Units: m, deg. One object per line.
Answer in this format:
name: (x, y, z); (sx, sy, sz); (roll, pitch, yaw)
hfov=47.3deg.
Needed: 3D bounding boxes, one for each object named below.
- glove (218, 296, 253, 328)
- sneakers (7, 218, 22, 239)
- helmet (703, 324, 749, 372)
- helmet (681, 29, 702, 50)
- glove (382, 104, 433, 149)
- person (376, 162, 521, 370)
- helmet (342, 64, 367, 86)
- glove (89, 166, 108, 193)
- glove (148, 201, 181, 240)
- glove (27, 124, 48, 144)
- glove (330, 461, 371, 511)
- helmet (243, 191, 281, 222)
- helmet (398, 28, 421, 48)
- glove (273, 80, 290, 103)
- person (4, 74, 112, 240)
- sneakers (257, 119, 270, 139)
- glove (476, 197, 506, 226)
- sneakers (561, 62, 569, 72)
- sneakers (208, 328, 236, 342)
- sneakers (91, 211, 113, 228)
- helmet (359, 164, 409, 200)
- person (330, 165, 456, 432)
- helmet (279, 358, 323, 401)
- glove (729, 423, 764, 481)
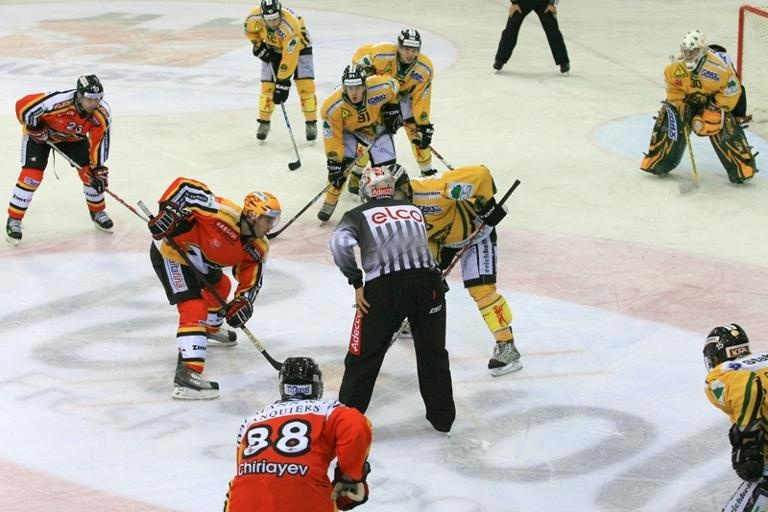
glove: (-1.123, 0.428, 6.548); (0.205, 0.240, 0.104); (1, 45, -41)
sneakers: (-3.576, -0.271, 8.489); (0.140, 0.195, 0.146); (-9, 27, -19)
helmet: (2.087, 0.569, 5.349); (0.281, 0.271, 0.298); (-3, -7, -11)
helmet: (3.159, -2.240, 9.109); (0.198, 0.197, 0.257); (8, 18, 37)
glove: (0.224, -1.341, 8.985); (0.528, 0.422, 0.166); (4, -2, -33)
person: (0.479, 0.070, 6.769); (1.276, 0.711, 1.745); (-12, 57, 13)
helmet: (-0.291, -1.783, 8.611); (0.208, 0.182, 0.242); (0, 31, 8)
glove: (-2.778, -0.751, 8.676); (0.217, 0.229, 0.239); (-1, -18, -12)
glove: (-1.595, -0.264, 6.392); (0.233, 0.264, 0.115); (22, 1, -12)
glove: (-3.306, -1.174, 8.408); (0.207, 0.164, 0.140); (-2, 50, 9)
glove: (-0.183, 1.323, 4.985); (0.244, 0.255, 0.114); (9, 8, 17)
helmet: (-0.894, -0.374, 6.481); (0.286, 0.208, 0.192); (4, 32, 2)
helmet: (0.254, -2.256, 9.189); (0.222, 0.211, 0.442); (1, 23, 0)
glove: (-1.235, -1.963, 10.502); (0.215, 0.242, 0.091); (5, 15, -25)
person: (-3.159, -0.967, 8.528); (1.051, 1.548, 0.631); (-7, 28, -14)
sneakers: (-1.510, -1.557, 10.920); (0.124, 0.269, 0.136); (5, -6, -12)
glove: (0.787, -0.327, 6.618); (0.218, 0.091, 0.218); (43, 77, 11)
sneakers: (2.662, -2.798, 13.012); (0.109, 0.120, 0.131); (-3, 4, 7)
sneakers: (-1.310, 0.645, 7.159); (0.288, 0.098, 0.087); (1, 27, -6)
sneakers: (-2.823, -0.359, 8.834); (0.117, 0.104, 0.278); (-38, 58, -25)
helmet: (0.018, -0.500, 6.203); (0.279, 0.265, 0.317); (-1, -17, -14)
person: (0.057, 0.419, 6.071); (0.821, 1.546, 0.690); (-1, 27, -3)
helmet: (-0.502, 0.712, 5.131); (0.284, 0.240, 0.312); (4, 4, -6)
glove: (2.089, 1.121, 5.062); (0.226, 0.366, 0.132); (7, 28, 13)
